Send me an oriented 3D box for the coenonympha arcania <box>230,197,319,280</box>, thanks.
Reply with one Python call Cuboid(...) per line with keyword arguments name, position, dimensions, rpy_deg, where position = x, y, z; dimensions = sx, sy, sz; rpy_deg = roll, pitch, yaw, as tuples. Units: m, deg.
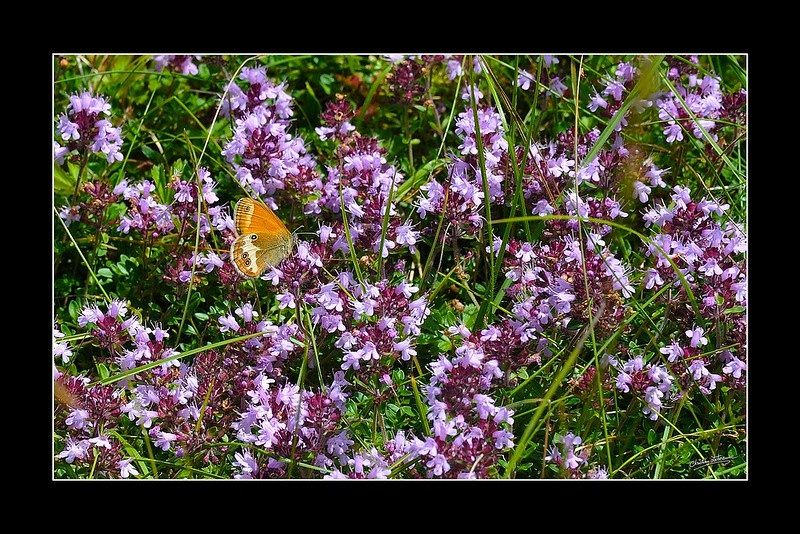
Cuboid(name="coenonympha arcania", position=(-0.606, -0.135, 3.648), dimensions=(0.299, 0.347, 0.133), rpy_deg=(-7, 17, -10))
